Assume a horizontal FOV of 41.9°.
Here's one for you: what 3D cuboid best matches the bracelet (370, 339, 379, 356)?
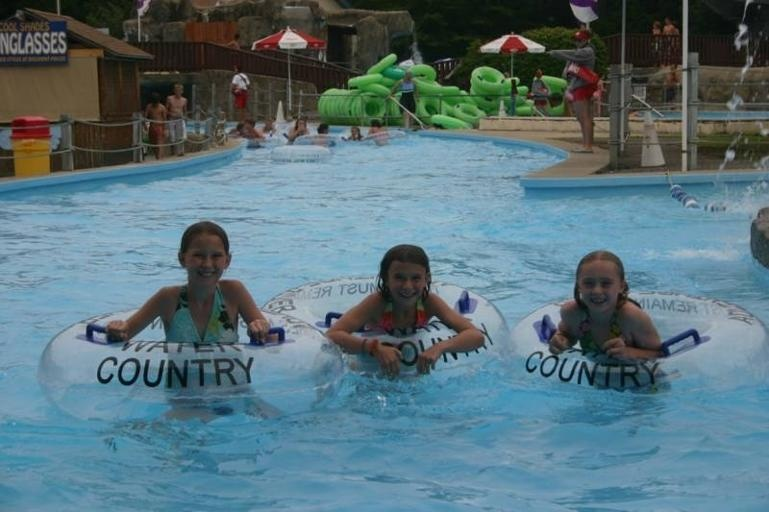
[{"bbox_3d":[-0.085,0.653,7.273,0.036,0.096,0.081,11,-9,-27],"label":"bracelet"}]

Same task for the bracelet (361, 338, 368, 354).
[{"bbox_3d":[-0.143,0.647,7.296,0.040,0.104,0.038,-1,5,-2],"label":"bracelet"}]

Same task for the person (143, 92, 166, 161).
[{"bbox_3d":[-3.847,-2.169,16.871,0.347,1.072,1.054,-2,5,-13],"label":"person"}]

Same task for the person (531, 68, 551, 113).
[{"bbox_3d":[3.902,-4.138,25.105,0.378,1.151,1.267,-1,5,8],"label":"person"}]

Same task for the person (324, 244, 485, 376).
[{"bbox_3d":[0.119,0.418,7.060,1.041,0.610,1.013,0,12,-4],"label":"person"}]

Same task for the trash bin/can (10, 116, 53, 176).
[{"bbox_3d":[-4.888,-1.520,13.902,0.534,0.807,0.642,-3,5,-24],"label":"trash bin/can"}]

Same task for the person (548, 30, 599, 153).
[{"bbox_3d":[2.961,-2.573,15.409,0.592,1.912,1.084,0,5,10],"label":"person"}]

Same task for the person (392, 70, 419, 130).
[{"bbox_3d":[0.499,-4.009,25.648,0.647,1.470,1.203,-1,5,1],"label":"person"}]

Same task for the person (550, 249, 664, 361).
[{"bbox_3d":[1.582,0.346,7.220,0.787,0.784,0.372,0,5,14],"label":"person"}]

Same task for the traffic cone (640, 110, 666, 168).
[{"bbox_3d":[3.704,-1.603,13.831,0.339,0.758,0.826,0,5,14],"label":"traffic cone"}]
